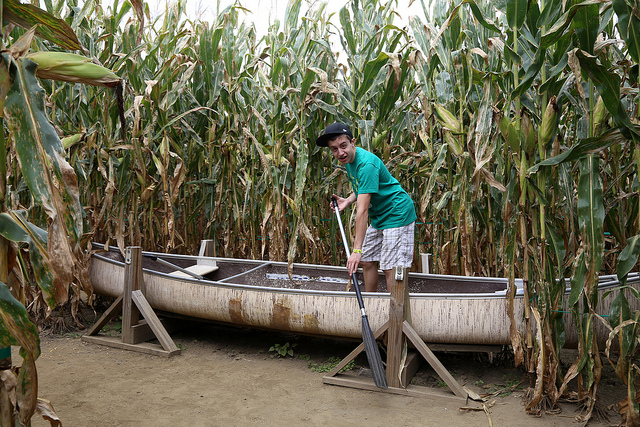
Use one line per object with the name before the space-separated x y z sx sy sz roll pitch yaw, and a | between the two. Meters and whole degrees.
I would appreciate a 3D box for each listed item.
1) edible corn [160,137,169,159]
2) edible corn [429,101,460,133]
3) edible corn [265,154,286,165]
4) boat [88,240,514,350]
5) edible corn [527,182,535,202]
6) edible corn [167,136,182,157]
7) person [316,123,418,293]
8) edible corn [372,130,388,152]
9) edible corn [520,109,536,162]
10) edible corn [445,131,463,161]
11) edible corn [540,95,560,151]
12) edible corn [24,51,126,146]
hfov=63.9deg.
edible corn | -1.428 -0.610 4.668 0.065 0.157 0.207 -4 9 -21
edible corn | 0.935 -0.716 3.785 0.105 0.332 0.065 -38 8 17
edible corn | -0.393 -0.488 4.602 0.174 0.079 0.264 -1 8 -4
boat | -0.205 0.702 4.097 3.322 0.838 0.801 3 9 18
edible corn | 1.309 -0.128 3.160 0.049 0.118 0.026 2 10 14
edible corn | -1.356 -0.651 4.748 0.044 0.055 0.314 5 44 -52
person | 0.358 -0.012 3.859 0.718 1.314 0.768 2 9 11
edible corn | 0.517 -0.646 4.412 0.119 0.140 0.273 1 9 5
edible corn | 1.285 -0.483 3.139 0.095 0.401 0.091 -27 33 -21
edible corn | 0.980 -0.503 3.774 0.073 0.288 0.038 -37 14 -27
edible corn | 1.396 -0.550 3.108 0.092 0.385 0.092 -13 52 5
edible corn | -1.050 -0.583 2.238 0.102 0.205 0.457 0 -2 31
